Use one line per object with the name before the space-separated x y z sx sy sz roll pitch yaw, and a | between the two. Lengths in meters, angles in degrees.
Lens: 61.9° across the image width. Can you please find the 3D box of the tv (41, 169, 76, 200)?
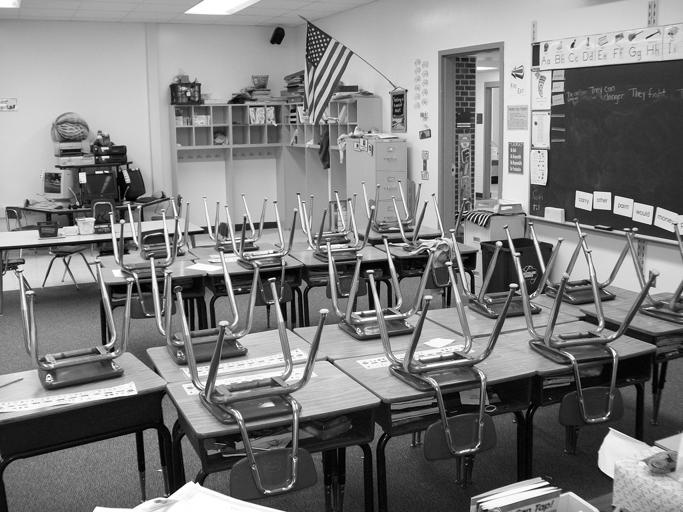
tv | -4.270 -1.080 8.604 0.478 0.494 0.295 1 1 23

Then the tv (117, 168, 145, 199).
tv | -3.403 -1.156 9.146 0.259 0.480 0.489 0 9 23
